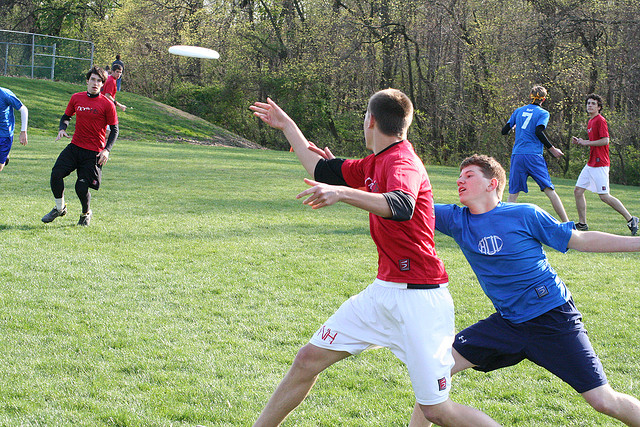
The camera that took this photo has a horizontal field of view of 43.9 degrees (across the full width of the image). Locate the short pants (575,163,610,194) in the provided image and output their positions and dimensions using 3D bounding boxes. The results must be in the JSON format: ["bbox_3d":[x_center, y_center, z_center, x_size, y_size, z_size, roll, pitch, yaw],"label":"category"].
[{"bbox_3d":[6.779,-0.909,19.618,0.469,0.752,0.874,2,4,-41],"label":"short pants"}]

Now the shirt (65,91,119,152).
[{"bbox_3d":[-5.024,-2.061,17.431,1.367,1.243,0.497,12,16,13],"label":"shirt"}]

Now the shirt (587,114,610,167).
[{"bbox_3d":[6.807,-1.755,19.328,0.567,1.268,0.480,8,14,15],"label":"shirt"}]

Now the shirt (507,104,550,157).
[{"bbox_3d":[4.967,-1.984,18.899,0.761,1.170,0.515,10,15,24],"label":"shirt"}]

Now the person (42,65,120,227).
[{"bbox_3d":[-5.237,-1.483,17.492,1.434,3.452,0.974,3,14,-5],"label":"person"}]

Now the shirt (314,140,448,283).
[{"bbox_3d":[1.023,-0.072,12.251,1.921,2.111,0.896,15,17,38],"label":"shirt"}]
